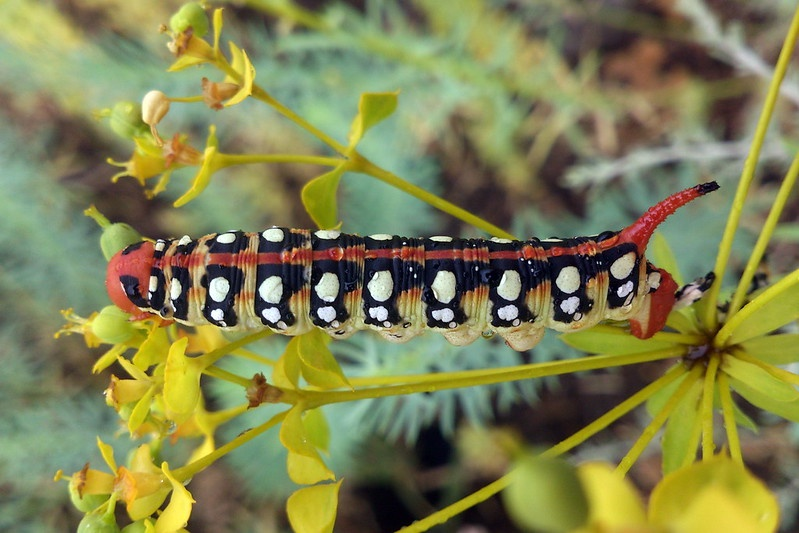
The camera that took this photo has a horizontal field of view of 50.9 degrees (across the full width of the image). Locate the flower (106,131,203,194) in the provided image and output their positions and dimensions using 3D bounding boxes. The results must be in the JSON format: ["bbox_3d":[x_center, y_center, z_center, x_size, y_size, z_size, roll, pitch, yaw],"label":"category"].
[{"bbox_3d":[-0.607,-0.275,2.110,0.230,0.124,0.163,-13,69,-12],"label":"flower"}]

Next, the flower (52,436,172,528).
[{"bbox_3d":[-0.630,0.491,1.930,0.250,0.098,0.186,0,44,12],"label":"flower"}]
